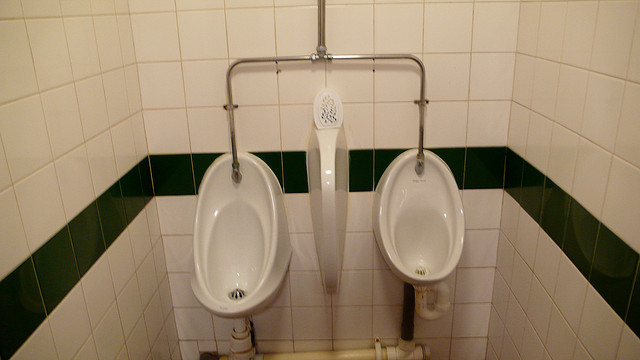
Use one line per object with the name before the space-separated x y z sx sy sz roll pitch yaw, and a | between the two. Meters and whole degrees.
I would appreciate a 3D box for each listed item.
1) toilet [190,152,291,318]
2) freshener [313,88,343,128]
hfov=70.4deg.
toilet | -0.525 0.404 2.870 0.636 1.018 0.523 -4 -35 1
freshener | 0.058 -0.460 2.909 0.205 0.240 0.058 -3 3 -5
